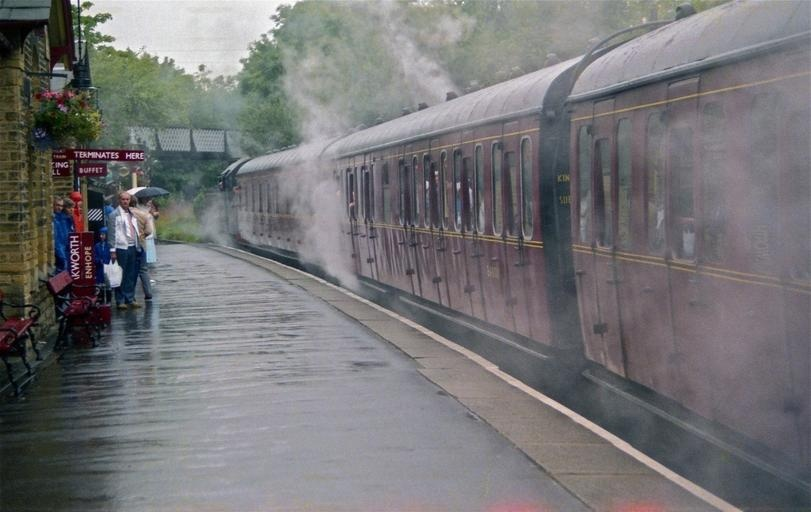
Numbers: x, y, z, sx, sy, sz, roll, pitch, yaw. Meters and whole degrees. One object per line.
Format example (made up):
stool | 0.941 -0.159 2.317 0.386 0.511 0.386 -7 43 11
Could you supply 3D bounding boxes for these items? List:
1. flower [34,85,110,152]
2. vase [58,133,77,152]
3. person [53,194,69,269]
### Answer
flower | -5.893 -2.284 11.890 1.323 0.953 1.242 3 3 30
vase | -5.996 -1.975 12.189 0.345 0.160 0.338 2 -5 -10
person | -6.642 -0.376 13.276 0.318 1.419 0.742 -5 8 -25
